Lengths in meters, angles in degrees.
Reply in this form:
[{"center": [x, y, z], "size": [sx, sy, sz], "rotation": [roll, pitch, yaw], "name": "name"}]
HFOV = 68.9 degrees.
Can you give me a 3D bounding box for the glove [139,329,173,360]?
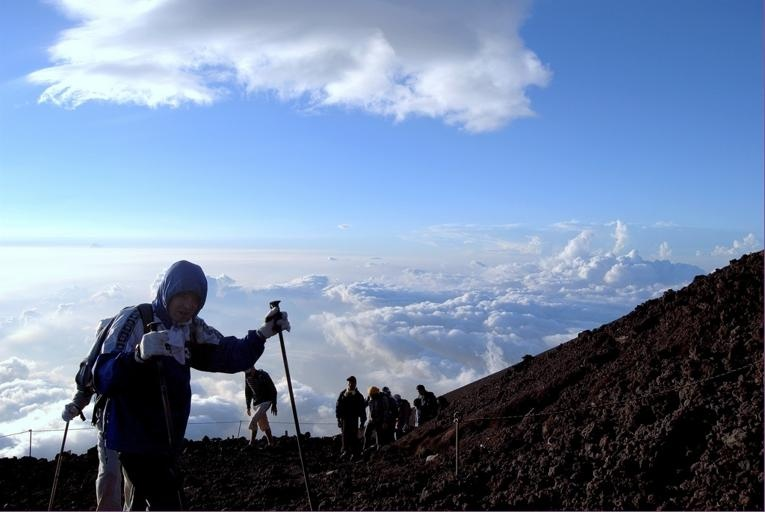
[{"center": [-3.177, 1.234, 7.725], "size": [0.436, 0.406, 0.308], "rotation": [-12, 1, -21], "name": "glove"}]
